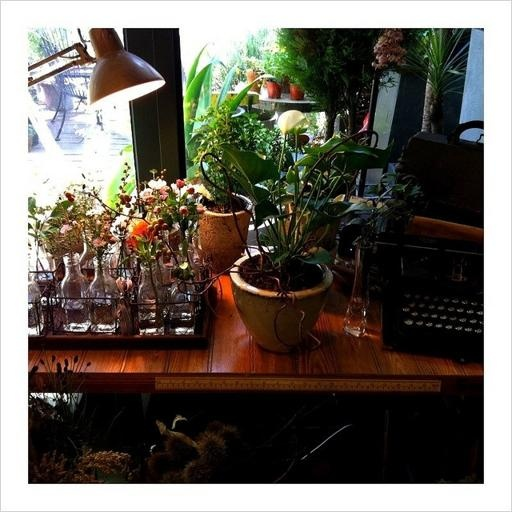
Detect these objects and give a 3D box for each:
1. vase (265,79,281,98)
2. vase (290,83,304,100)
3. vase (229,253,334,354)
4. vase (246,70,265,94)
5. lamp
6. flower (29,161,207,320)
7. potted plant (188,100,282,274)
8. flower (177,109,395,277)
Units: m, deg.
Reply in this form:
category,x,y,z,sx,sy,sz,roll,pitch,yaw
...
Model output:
category,x,y,z,sx,sy,sz,roll,pitch,yaw
vase,0.056,-0.536,1.377,0.044,0.040,0.052,-2,39,-1
vase,0.126,-0.518,1.357,0.042,0.042,0.041,-33,49,-32
vase,0.054,0.113,1.032,0.223,0.183,0.235,-8,25,-18
vase,-0.007,-0.566,1.368,0.055,0.061,0.056,37,56,27
lamp,-0.415,-0.449,1.054,0.407,0.188,0.177,5,10,31
flower,-0.351,0.028,1.192,0.458,0.476,0.385,3,39,-4
potted plant,-0.088,-0.153,1.243,0.179,0.335,0.130,0,17,-8
flower,0.091,-0.156,1.002,0.434,0.335,0.438,-3,6,44
